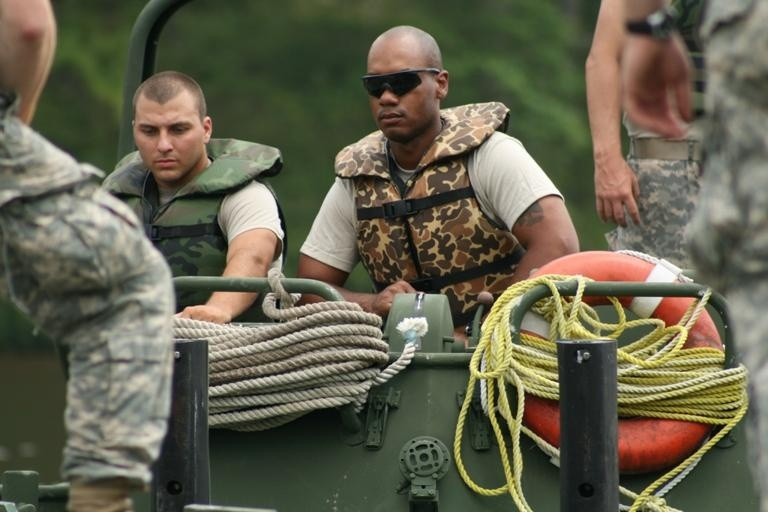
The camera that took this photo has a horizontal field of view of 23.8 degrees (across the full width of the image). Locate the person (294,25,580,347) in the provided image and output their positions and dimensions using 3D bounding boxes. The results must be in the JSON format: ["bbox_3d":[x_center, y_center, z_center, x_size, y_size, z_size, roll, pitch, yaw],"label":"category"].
[{"bbox_3d":[0.237,-0.363,8.622,1.312,1.514,0.573,-4,-4,7],"label":"person"}]
